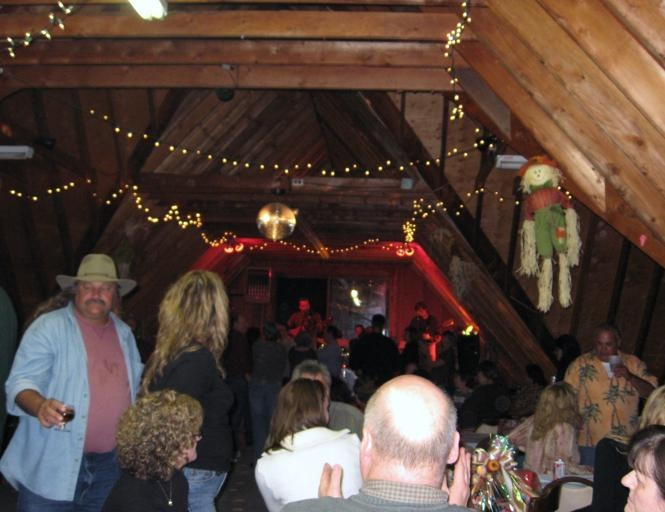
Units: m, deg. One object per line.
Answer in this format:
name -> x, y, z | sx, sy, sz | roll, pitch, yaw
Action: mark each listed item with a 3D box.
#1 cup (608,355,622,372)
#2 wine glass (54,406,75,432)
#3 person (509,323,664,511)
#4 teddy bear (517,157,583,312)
cup -> 2.102, 0.790, 5.865 | 0.079, 0.138, 0.087 | 4, -18, 1
wine glass -> -1.477, 0.894, 4.372 | 0.075, 0.116, 0.278 | 9, -20, -14
person -> 1.898, 1.037, 5.917 | 0.819, 1.132, 0.928 | -13, -25, 41
teddy bear -> 1.567, -0.195, 5.703 | 0.394, 1.222, 0.251 | -9, -27, 22
